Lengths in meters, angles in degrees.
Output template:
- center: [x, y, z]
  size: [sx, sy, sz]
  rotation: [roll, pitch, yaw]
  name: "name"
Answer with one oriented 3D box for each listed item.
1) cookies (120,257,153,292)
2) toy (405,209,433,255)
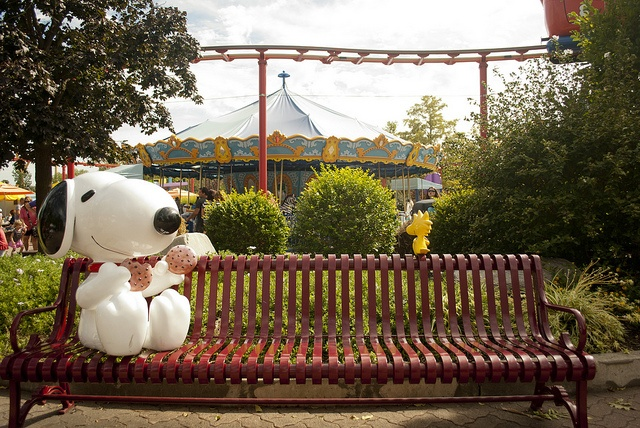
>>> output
- center: [-2.241, 0.741, 8.117]
  size: [0.362, 0.383, 0.125]
  rotation: [-1, 6, -14]
  name: "cookies"
- center: [1.280, 0.225, 8.578]
  size: [0.289, 0.577, 0.431]
  rotation: [1, 5, 10]
  name: "toy"
